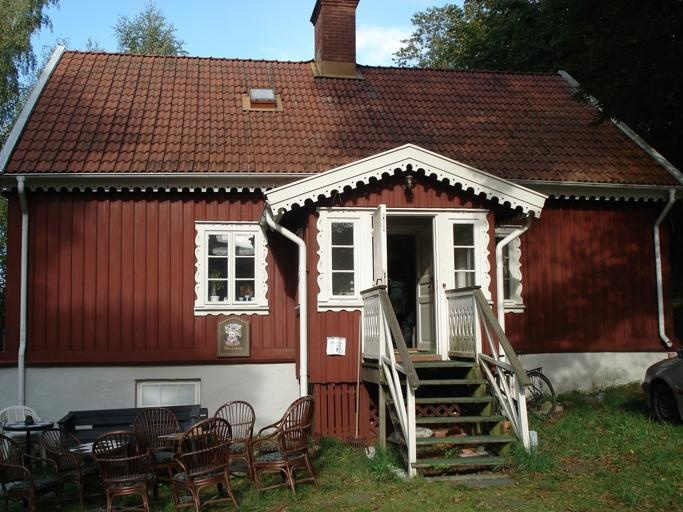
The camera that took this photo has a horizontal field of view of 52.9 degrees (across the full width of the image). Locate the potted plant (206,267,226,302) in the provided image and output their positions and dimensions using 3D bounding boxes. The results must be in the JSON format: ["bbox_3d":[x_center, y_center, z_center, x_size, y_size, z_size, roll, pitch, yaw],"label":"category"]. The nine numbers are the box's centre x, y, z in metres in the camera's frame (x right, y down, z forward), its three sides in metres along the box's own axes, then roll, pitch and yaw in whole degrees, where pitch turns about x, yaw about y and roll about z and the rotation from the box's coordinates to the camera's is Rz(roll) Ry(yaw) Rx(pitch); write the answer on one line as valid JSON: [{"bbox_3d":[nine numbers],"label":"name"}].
[{"bbox_3d":[-2.575,0.611,14.285,0.486,0.904,0.523,2,-12,-12],"label":"potted plant"}]

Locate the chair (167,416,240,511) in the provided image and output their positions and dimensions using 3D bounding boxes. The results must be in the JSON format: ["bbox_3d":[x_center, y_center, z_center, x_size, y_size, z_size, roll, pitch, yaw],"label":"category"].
[{"bbox_3d":[-2.117,3.182,10.431,0.912,1.711,1.561,-5,12,-15],"label":"chair"}]
